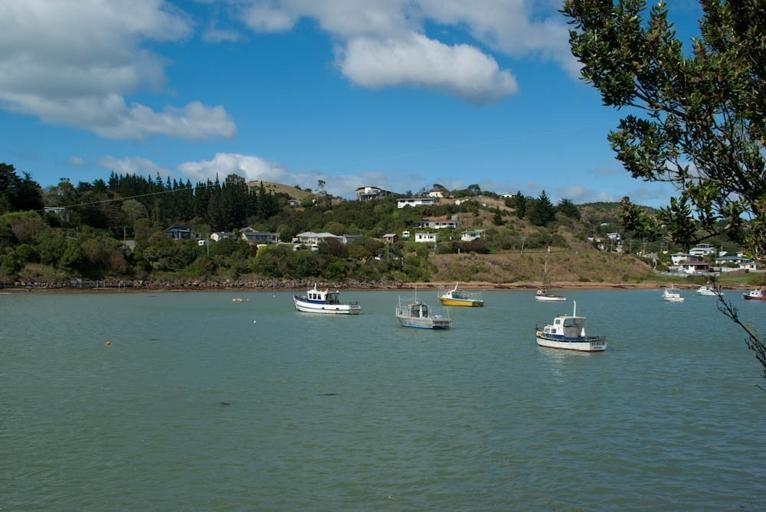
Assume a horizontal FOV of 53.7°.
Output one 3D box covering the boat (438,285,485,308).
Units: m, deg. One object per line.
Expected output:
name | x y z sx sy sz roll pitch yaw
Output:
boat | 12.672 7.173 127.174 3.538 2.988 6.772 1 -2 -42

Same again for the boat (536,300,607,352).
boat | 19.113 7.026 78.170 3.127 5.166 7.976 5 -2 -34
